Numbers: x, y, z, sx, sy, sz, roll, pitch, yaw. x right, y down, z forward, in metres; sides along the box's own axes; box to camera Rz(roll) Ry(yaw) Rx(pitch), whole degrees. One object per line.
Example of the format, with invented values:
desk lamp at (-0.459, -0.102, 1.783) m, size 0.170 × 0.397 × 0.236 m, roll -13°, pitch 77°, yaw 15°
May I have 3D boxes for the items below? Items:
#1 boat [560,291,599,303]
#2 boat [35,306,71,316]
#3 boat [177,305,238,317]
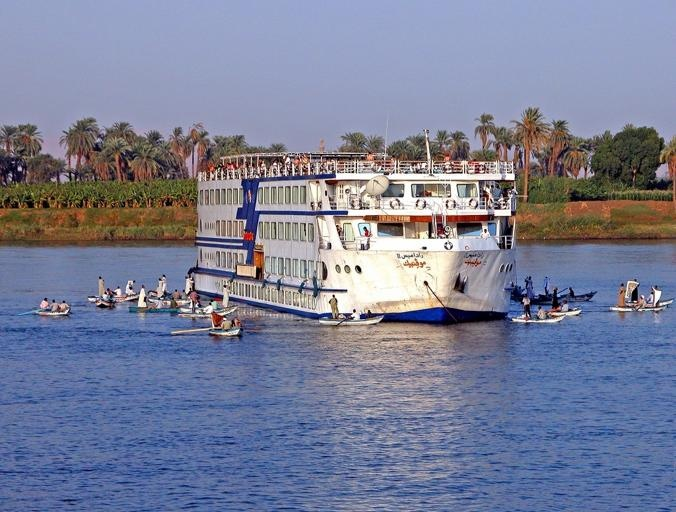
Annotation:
boat at (21.192, 3.583, 124.311) m, size 3.945 × 0.967 × 0.892 m, roll -1°, pitch 3°, yaw -7°
boat at (-23.845, 4.501, 117.805) m, size 3.131 × 0.960 × 1.036 m, roll -1°, pitch -5°, yaw 14°
boat at (-10.485, 4.481, 113.861) m, size 6.023 × 1.098 × 1.827 m, roll -6°, pitch -2°, yaw 38°
